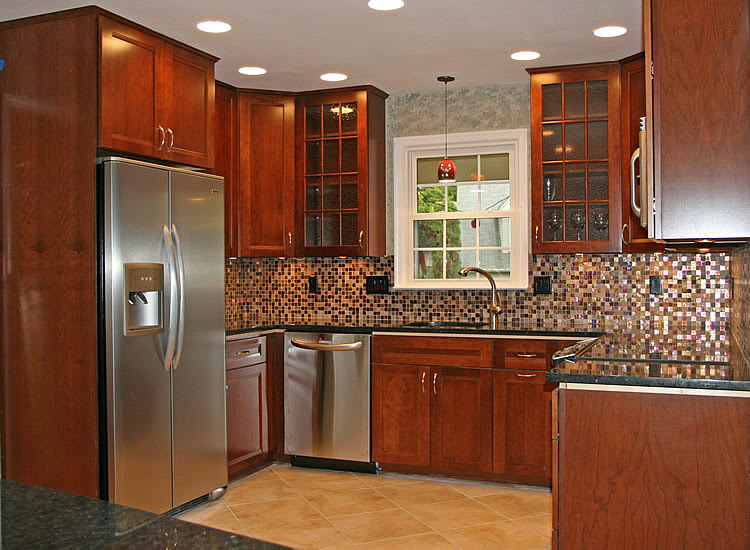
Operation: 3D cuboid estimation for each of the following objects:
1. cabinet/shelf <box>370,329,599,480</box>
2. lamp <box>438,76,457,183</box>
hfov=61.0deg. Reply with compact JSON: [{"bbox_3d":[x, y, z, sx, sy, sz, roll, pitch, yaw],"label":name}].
[{"bbox_3d":[0.718,0.948,4.762,1.351,1.036,0.638,0,-6,18],"label":"cabinet/shelf"},{"bbox_3d":[0.561,-1.099,5.000,0.155,0.645,0.519,-2,-1,6],"label":"lamp"}]
